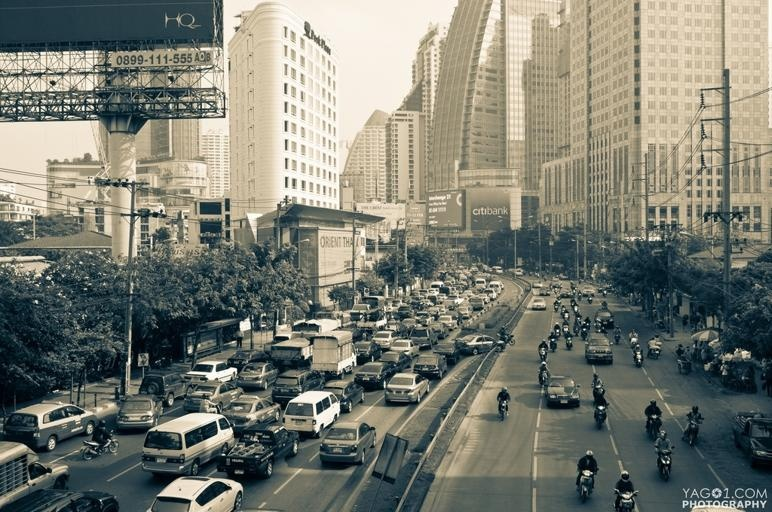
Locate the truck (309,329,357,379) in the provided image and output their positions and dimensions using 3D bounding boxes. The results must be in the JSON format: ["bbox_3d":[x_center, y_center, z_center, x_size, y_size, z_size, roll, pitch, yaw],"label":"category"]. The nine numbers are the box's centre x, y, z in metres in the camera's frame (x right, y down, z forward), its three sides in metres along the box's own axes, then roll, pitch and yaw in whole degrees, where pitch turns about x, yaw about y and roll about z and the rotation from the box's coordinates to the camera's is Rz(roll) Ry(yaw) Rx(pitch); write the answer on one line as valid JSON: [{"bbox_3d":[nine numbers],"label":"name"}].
[{"bbox_3d":[-5.724,11.027,127.371,2.471,5.040,5.411,-1,2,41],"label":"truck"}]

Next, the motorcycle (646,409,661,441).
[{"bbox_3d":[27.280,17.071,115.546,1.367,2.987,0.832,-1,2,39],"label":"motorcycle"}]

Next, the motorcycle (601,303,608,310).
[{"bbox_3d":[30.917,7.026,160.255,0.675,0.881,2.173,-4,-6,14],"label":"motorcycle"}]

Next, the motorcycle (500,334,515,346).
[{"bbox_3d":[15.493,10.568,142.741,1.692,1.112,1.134,-3,10,0],"label":"motorcycle"}]

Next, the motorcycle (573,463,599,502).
[{"bbox_3d":[19.272,21.609,108.604,1.850,3.350,1.154,-2,1,-3],"label":"motorcycle"}]

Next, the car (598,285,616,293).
[{"bbox_3d":[37.878,5.288,193.458,1.873,1.974,3.535,0,-4,5],"label":"car"}]

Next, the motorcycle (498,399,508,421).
[{"bbox_3d":[12.355,16.041,118.598,1.106,1.187,1.852,-1,-3,6],"label":"motorcycle"}]

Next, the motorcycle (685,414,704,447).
[{"bbox_3d":[31.321,17.536,115.032,1.731,3.015,1.397,-2,1,-11],"label":"motorcycle"}]

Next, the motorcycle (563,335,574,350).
[{"bbox_3d":[23.014,10.861,142.507,1.437,1.891,3.221,-1,-4,8],"label":"motorcycle"}]

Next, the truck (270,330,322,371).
[{"bbox_3d":[-9.907,11.240,131.467,3.165,2.422,5.649,1,5,13],"label":"truck"}]

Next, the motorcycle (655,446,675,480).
[{"bbox_3d":[27.242,20.176,110.559,1.350,2.997,1.124,-2,1,5],"label":"motorcycle"}]

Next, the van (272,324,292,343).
[{"bbox_3d":[-12.831,9.725,143.000,1.514,1.050,3.333,2,6,3],"label":"van"}]

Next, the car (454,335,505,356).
[{"bbox_3d":[11.396,10.803,139.032,4.630,1.528,2.431,-5,6,-26],"label":"car"}]
